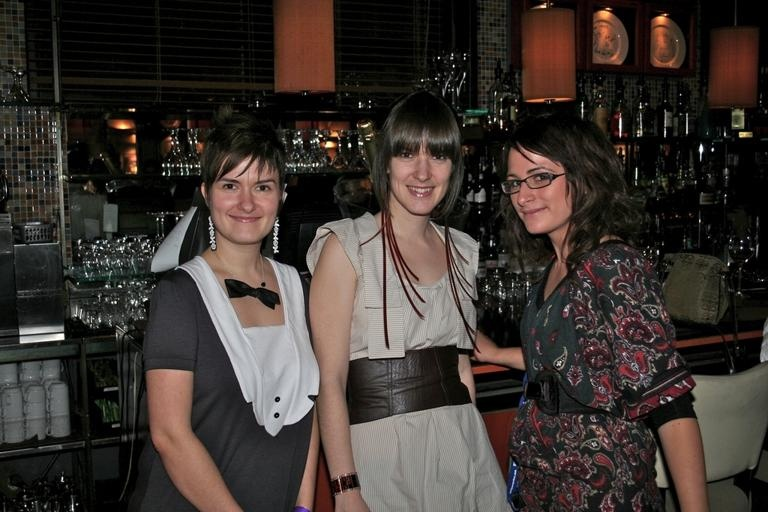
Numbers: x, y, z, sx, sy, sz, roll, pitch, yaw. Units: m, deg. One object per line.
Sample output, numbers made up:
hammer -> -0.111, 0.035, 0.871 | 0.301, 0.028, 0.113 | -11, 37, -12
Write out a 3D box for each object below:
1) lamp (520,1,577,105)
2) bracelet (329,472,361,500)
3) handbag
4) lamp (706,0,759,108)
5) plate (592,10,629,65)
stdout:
lamp -> 1.077, -1.334, 4.238 | 0.329, 0.615, 0.194 | -1, 5, 15
bracelet -> -0.141, 0.824, 2.342 | 0.104, 0.073, 0.097 | -6, -12, -37
handbag -> 1.954, 0.213, 4.060 | 0.375, 0.416, 0.213 | 8, 0, 39
lamp -> 2.761, -1.497, 5.105 | 0.346, 0.639, 0.264 | 0, 5, 26
plate -> 1.922, -1.862, 5.493 | 0.378, 0.474, 0.076 | -5, 5, -28
